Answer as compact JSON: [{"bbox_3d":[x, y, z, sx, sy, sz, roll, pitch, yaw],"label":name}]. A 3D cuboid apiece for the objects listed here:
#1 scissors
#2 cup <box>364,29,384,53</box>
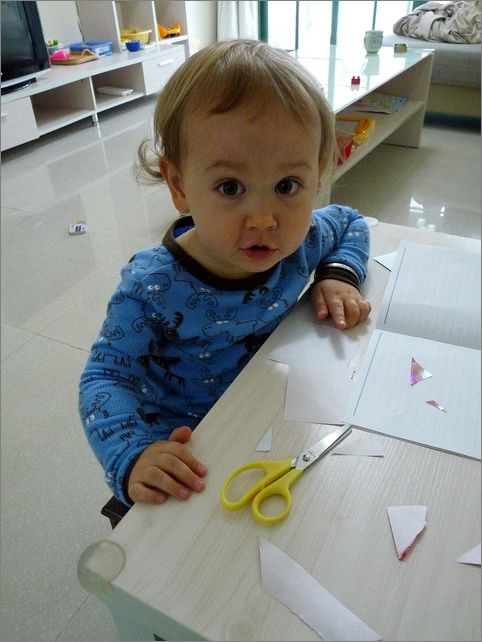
[{"bbox_3d":[0.046,0.132,0.426,0.102,0.008,0.044,-30,40,-33],"label":"scissors"},{"bbox_3d":[0.773,-1.634,2.853,0.122,0.138,0.123,-3,55,4],"label":"cup"}]
